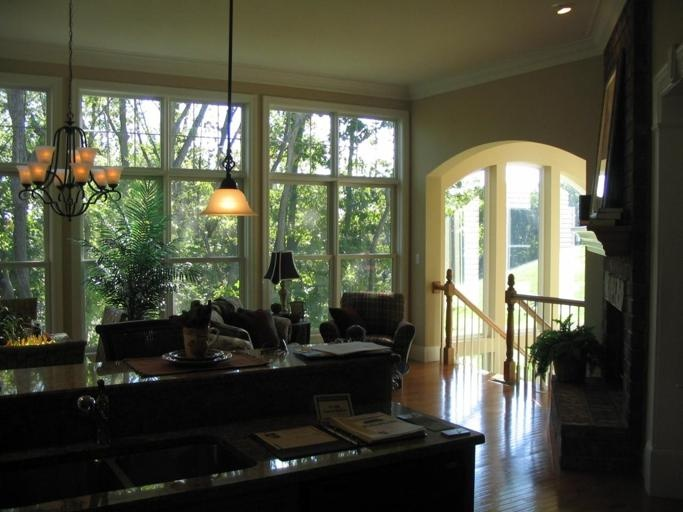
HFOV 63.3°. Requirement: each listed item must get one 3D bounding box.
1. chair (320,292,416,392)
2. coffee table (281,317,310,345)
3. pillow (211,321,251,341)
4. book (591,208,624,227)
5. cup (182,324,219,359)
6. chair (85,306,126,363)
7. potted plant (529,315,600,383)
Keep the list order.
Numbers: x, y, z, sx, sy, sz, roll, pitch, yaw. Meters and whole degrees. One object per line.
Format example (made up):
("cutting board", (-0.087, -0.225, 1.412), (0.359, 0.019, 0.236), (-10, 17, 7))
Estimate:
("chair", (0.337, 0.979, 6.482), (0.995, 1.185, 0.863), (-2, -8, 7))
("coffee table", (-0.507, 0.850, 6.194), (0.289, 0.336, 0.295), (0, 1, -13))
("pillow", (-0.851, 0.580, 4.290), (0.319, 0.134, 0.329), (11, -1, -15))
("book", (1.995, -0.302, 4.130), (0.283, 0.123, 0.194), (2, 14, 3))
("cup", (-0.654, 0.395, 2.618), (0.157, 0.165, 0.102), (-2, 7, -37))
("chair", (-2.194, 0.688, 5.347), (0.275, 0.548, 0.298), (4, -16, 33))
("potted plant", (2.171, 0.905, 5.426), (0.565, 0.558, 0.543), (-2, 0, -34))
